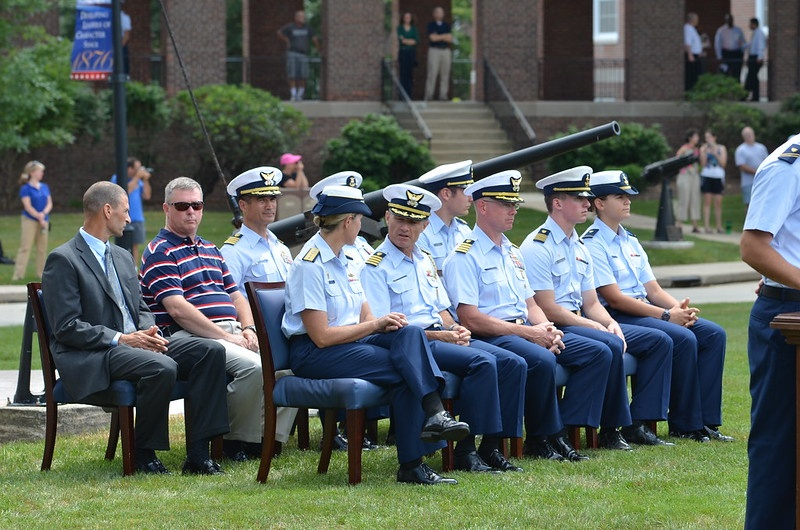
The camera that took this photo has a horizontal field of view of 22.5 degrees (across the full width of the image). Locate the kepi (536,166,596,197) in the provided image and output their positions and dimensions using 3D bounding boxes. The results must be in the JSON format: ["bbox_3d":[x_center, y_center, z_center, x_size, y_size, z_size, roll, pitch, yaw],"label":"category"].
[{"bbox_3d":[2.622,-1.311,32.241,0.640,0.306,0.563,-1,-1,26],"label":"kepi"}]

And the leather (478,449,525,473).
[{"bbox_3d":[1.469,3.046,30.997,0.786,0.301,0.254,7,-2,8],"label":"leather"}]

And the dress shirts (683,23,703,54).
[{"bbox_3d":[7.464,-5.788,51.814,0.436,0.758,0.775,-1,12,18],"label":"dress shirts"}]

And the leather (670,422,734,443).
[{"bbox_3d":[4.750,2.740,31.879,0.885,0.357,0.313,-10,-5,17],"label":"leather"}]

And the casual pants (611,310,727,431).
[{"bbox_3d":[4.168,1.847,32.340,2.042,1.847,1.215,-9,8,-11],"label":"casual pants"}]

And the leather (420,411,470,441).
[{"bbox_3d":[0.621,2.462,30.408,0.727,0.313,0.351,-8,-12,23],"label":"leather"}]

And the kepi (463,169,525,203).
[{"bbox_3d":[1.440,-1.210,31.716,0.632,0.302,0.553,5,3,32],"label":"kepi"}]

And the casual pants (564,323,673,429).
[{"bbox_3d":[2.984,1.772,31.872,1.502,1.854,1.665,5,-10,-38],"label":"casual pants"}]

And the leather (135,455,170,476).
[{"bbox_3d":[-3.897,3.106,30.966,0.624,0.248,0.222,3,-3,1],"label":"leather"}]

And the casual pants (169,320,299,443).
[{"bbox_3d":[-2.562,1.806,32.905,1.810,2.987,1.946,-2,3,-31],"label":"casual pants"}]

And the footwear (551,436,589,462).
[{"bbox_3d":[2.679,2.902,31.303,0.760,0.328,0.258,4,3,33],"label":"footwear"}]

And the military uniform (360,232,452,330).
[{"bbox_3d":[0.050,0.337,31.317,1.483,1.317,0.826,1,-10,-34],"label":"military uniform"}]

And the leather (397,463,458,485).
[{"bbox_3d":[0.435,3.200,30.608,1.057,0.366,0.341,0,-5,6],"label":"leather"}]

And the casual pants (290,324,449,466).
[{"bbox_3d":[-0.496,2.086,31.088,2.241,2.622,1.931,-12,-8,33],"label":"casual pants"}]

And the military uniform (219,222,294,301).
[{"bbox_3d":[-2.357,0.006,32.166,1.121,0.964,0.570,-12,-9,-40],"label":"military uniform"}]

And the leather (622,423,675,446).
[{"bbox_3d":[3.953,2.724,31.826,0.954,0.388,0.302,0,0,0],"label":"leather"}]

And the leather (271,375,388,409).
[{"bbox_3d":[-0.855,1.943,31.270,1.598,0.448,1.501,0,-1,-43],"label":"leather"}]

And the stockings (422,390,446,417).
[{"bbox_3d":[0.449,2.129,30.519,0.263,0.403,0.421,-26,-14,-4],"label":"stockings"}]

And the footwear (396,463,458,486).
[{"bbox_3d":[0.448,3.216,30.604,1.070,0.359,0.341,-1,-6,6],"label":"footwear"}]

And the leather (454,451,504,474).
[{"bbox_3d":[1.203,3.067,30.958,0.886,0.306,0.277,0,-4,2],"label":"leather"}]

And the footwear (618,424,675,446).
[{"bbox_3d":[3.836,2.728,31.867,0.957,0.389,0.302,0,0,1],"label":"footwear"}]

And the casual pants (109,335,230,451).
[{"bbox_3d":[-3.408,2.021,31.439,1.747,2.114,1.773,3,1,40],"label":"casual pants"}]

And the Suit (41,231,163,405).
[{"bbox_3d":[-4.817,0.816,31.068,1.494,2.589,0.513,-1,0,-11],"label":"Suit"}]

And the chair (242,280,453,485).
[{"bbox_3d":[-1.187,2.030,32.607,3.173,4.230,3.073,-3,-6,29],"label":"chair"}]

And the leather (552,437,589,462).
[{"bbox_3d":[2.664,2.897,31.336,0.745,0.304,0.248,7,5,33],"label":"leather"}]

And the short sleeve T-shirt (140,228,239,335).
[{"bbox_3d":[-3.385,0.353,31.683,1.088,1.469,1.550,-14,-7,36],"label":"short sleeve T-shirt"}]

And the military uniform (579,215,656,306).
[{"bbox_3d":[3.524,0.001,33.225,1.613,1.544,0.907,-6,-3,-44],"label":"military uniform"}]

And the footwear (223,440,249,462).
[{"bbox_3d":[-2.651,2.940,31.549,0.589,0.228,0.190,2,3,29],"label":"footwear"}]
